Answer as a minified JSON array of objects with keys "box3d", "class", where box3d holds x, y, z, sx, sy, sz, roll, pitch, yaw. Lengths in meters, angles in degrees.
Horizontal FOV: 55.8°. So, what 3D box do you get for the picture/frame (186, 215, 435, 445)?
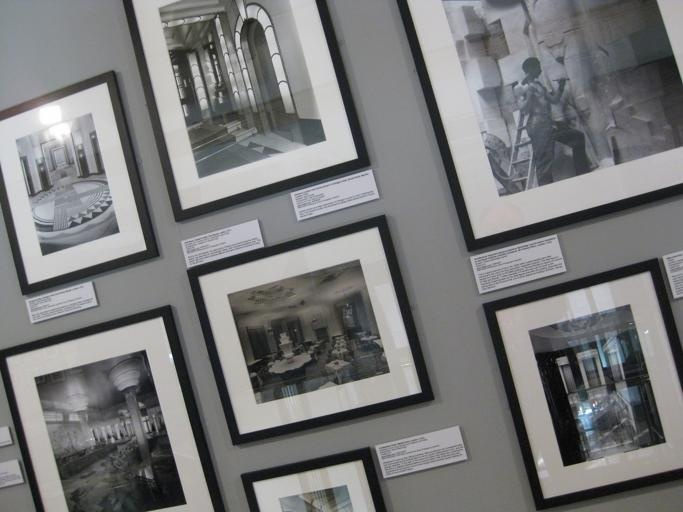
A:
[{"box3d":[-0.092,0.323,2.890,0.770,0.732,0.037,-20,-2,13],"class":"picture/frame"}]
